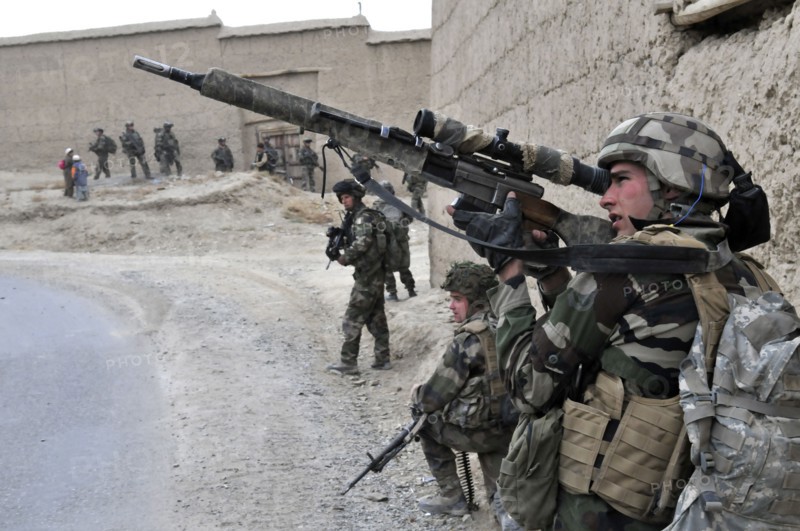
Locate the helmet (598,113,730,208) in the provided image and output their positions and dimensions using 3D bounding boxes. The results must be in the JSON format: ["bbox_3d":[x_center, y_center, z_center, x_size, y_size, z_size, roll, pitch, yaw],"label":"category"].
[{"bbox_3d":[1.379,-0.528,4.277,0.526,0.427,0.457,2,5,11],"label":"helmet"}]

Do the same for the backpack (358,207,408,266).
[{"bbox_3d":[-0.163,-0.337,8.679,0.564,0.568,0.417,-10,23,9],"label":"backpack"}]

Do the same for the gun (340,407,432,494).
[{"bbox_3d":[-0.117,1.436,6.357,0.944,0.222,0.147,-39,-15,-22],"label":"gun"}]

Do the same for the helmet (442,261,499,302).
[{"bbox_3d":[0.476,0.079,5.623,0.295,0.288,0.263,11,16,17],"label":"helmet"}]

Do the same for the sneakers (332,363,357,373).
[{"bbox_3d":[-0.566,1.005,8.318,0.242,0.107,0.103,12,-5,-7],"label":"sneakers"}]
